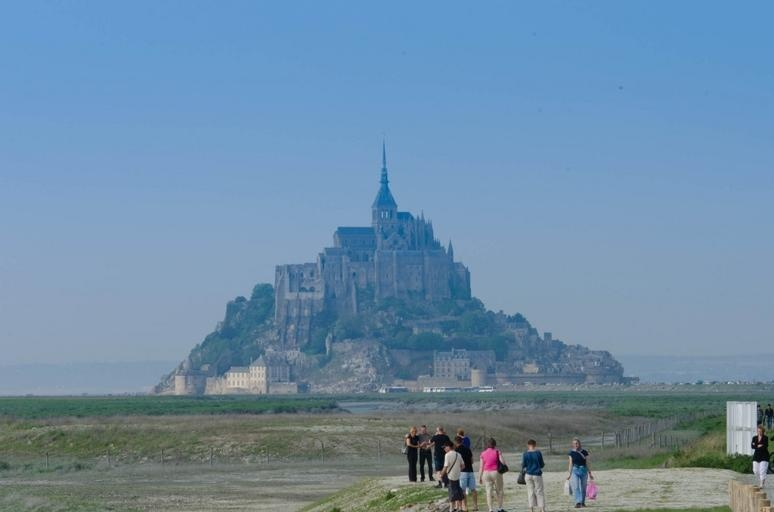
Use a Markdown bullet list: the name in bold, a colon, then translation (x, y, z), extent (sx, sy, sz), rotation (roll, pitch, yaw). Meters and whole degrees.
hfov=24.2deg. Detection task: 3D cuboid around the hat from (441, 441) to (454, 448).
- **hat**: translation (3.511, 11.190, 105.465), extent (0.441, 0.340, 0.585), rotation (-7, 25, 33)
